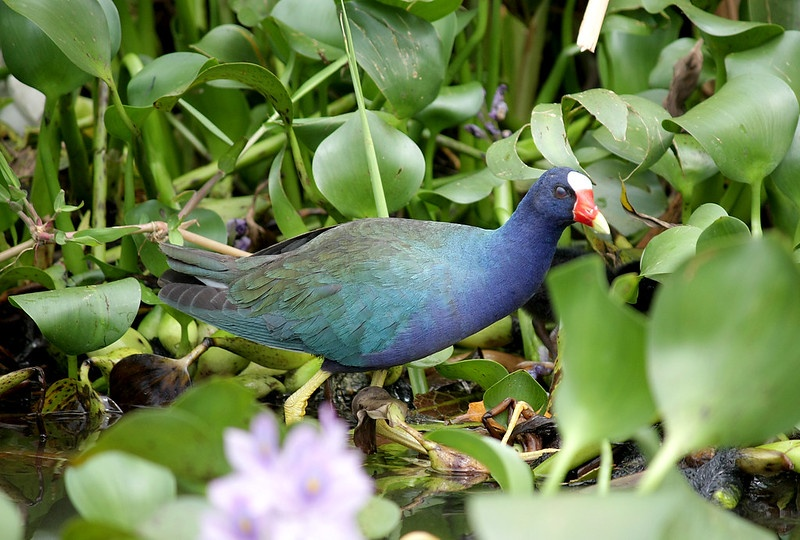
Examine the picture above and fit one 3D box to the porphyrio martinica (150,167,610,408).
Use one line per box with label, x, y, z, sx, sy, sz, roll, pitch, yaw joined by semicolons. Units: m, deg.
porphyrio martinica;-0.081;0.018;1.666;0.883;0.643;0.337;11;31;13
